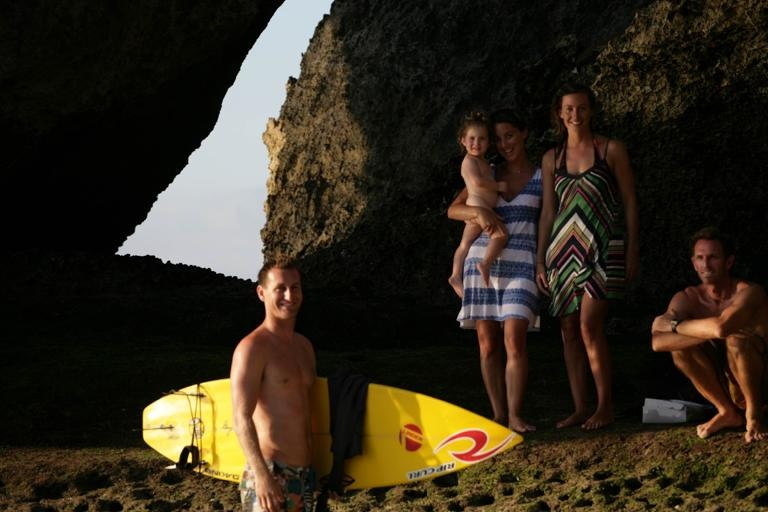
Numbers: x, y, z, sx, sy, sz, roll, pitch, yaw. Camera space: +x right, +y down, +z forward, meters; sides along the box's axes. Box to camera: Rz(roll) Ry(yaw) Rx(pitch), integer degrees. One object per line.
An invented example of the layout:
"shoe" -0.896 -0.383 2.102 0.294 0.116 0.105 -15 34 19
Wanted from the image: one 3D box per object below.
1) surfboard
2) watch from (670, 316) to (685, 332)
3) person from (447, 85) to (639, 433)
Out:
"surfboard" -0.189 1.604 8.148 4.245 1.263 0.484 4 -1 -5
"watch" 2.582 0.595 7.815 0.064 0.119 0.087 11 17 -8
"person" 1.880 -0.002 8.206 0.940 3.145 0.480 -7 -9 25
